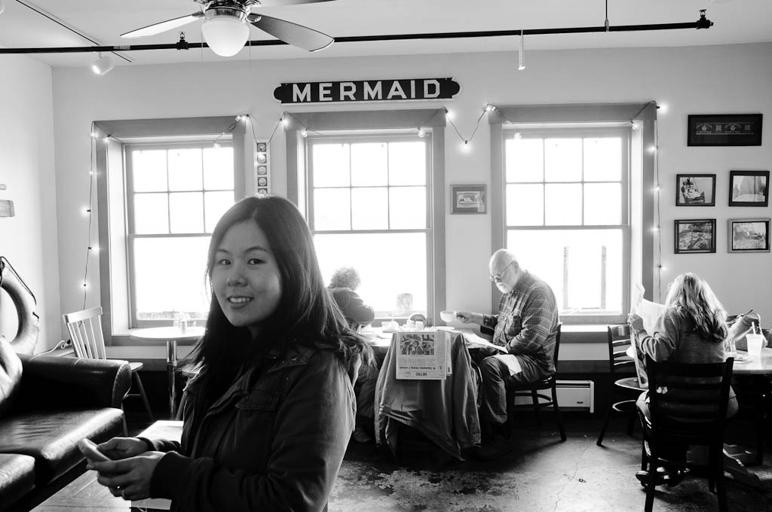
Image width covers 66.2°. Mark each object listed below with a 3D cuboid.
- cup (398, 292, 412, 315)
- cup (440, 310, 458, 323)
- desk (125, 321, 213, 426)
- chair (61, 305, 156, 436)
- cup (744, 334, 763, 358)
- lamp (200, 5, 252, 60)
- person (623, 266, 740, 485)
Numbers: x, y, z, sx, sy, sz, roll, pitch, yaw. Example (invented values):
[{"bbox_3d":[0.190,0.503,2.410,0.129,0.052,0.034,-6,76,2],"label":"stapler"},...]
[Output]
[{"bbox_3d":[0.222,0.510,6.657,0.198,0.214,0.205,-1,-2,0],"label":"cup"},{"bbox_3d":[0.687,0.655,6.412,0.162,0.096,0.160,1,-4,0],"label":"cup"},{"bbox_3d":[-2.180,1.332,6.192,0.908,0.932,0.883,-2,-11,-3],"label":"desk"},{"bbox_3d":[-2.900,1.200,6.228,0.687,1.183,0.591,2,2,5],"label":"chair"},{"bbox_3d":[3.348,0.810,5.381,0.186,0.188,0.180,1,-13,0],"label":"cup"},{"bbox_3d":[-1.130,-1.595,4.317,0.336,0.290,0.328,0,0,1],"label":"lamp"},{"bbox_3d":[2.503,1.098,5.048,0.889,1.852,0.830,6,15,19],"label":"person"}]
